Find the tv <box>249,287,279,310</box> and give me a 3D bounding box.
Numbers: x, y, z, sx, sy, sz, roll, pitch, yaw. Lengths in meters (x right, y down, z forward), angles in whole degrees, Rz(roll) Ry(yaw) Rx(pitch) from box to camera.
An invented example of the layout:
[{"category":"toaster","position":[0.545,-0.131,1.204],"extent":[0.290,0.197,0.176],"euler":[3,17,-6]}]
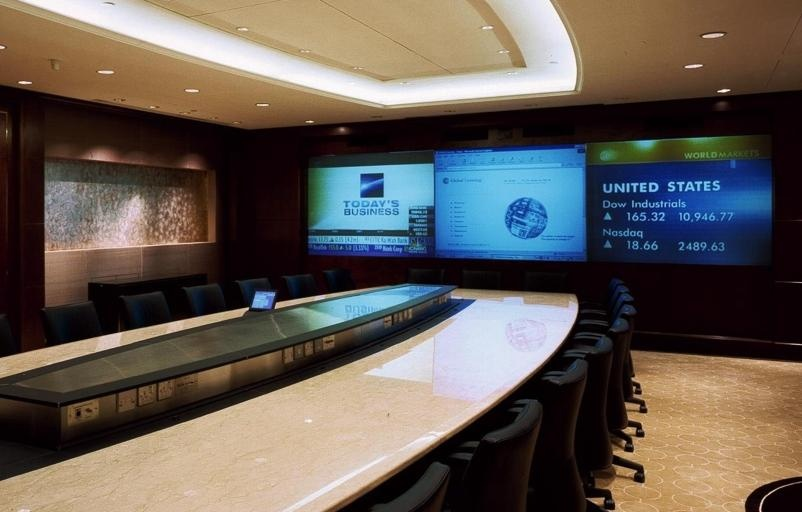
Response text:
[{"category":"tv","position":[-1.465,0.463,5.427],"extent":[0.310,0.195,0.212],"euler":[1,-13,11]}]
